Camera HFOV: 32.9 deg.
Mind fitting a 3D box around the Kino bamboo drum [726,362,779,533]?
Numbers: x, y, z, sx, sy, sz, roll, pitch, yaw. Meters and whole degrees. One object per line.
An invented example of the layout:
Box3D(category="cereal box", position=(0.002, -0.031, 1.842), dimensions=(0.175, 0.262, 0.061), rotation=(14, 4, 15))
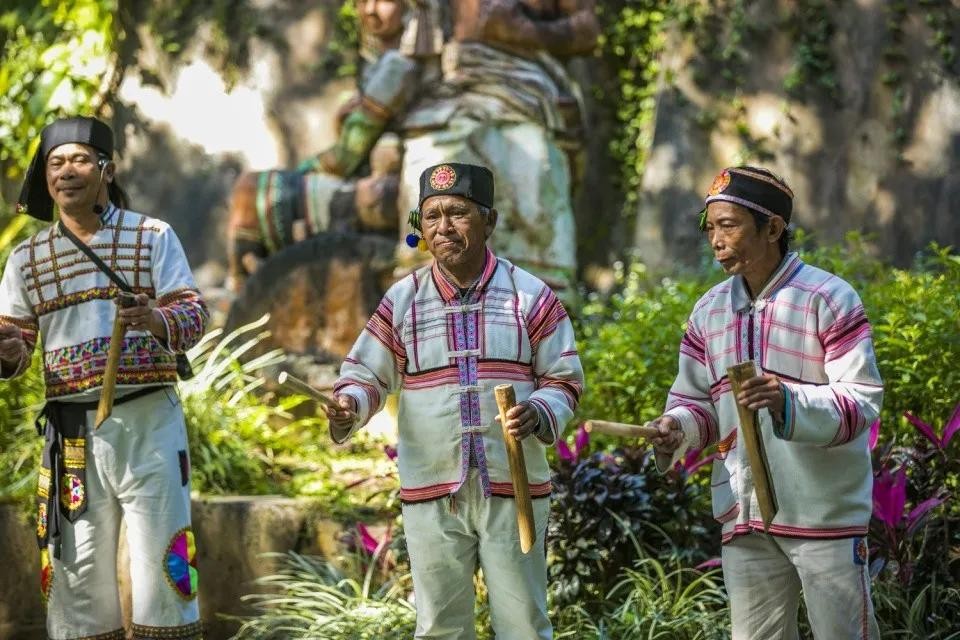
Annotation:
Box3D(category="Kino bamboo drum", position=(1.623, 0.744, 9.569), dimensions=(0.185, 0.940, 0.515), rotation=(-7, -16, 10))

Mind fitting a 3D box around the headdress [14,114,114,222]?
Box3D(category="headdress", position=(-2.669, -0.978, 10.612), dimensions=(0.565, 0.698, 0.734), rotation=(11, -7, -37))

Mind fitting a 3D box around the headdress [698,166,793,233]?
Box3D(category="headdress", position=(1.632, -0.708, 9.916), dimensions=(0.415, 0.319, 0.397), rotation=(21, -8, 1))

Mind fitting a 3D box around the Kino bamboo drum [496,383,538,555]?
Box3D(category="Kino bamboo drum", position=(0.231, 0.899, 9.583), dimensions=(0.181, 1.146, 0.150), rotation=(-7, 6, 10))

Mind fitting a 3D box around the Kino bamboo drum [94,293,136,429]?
Box3D(category="Kino bamboo drum", position=(-2.258, 0.222, 10.102), dimensions=(0.185, 0.802, 0.540), rotation=(2, -17, -20))

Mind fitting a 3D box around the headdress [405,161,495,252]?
Box3D(category="headdress", position=(-0.238, -0.710, 10.063), dimensions=(0.468, 0.452, 0.553), rotation=(7, -8, -35))
